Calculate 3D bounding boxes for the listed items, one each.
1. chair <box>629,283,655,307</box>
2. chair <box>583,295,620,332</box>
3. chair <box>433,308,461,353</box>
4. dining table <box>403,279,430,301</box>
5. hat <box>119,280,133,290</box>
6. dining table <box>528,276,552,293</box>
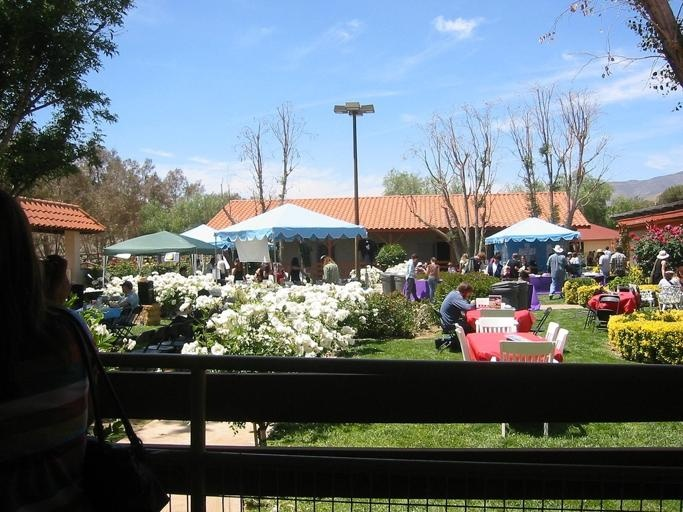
[{"bbox_3d":[7.946,1.037,15.043,0.628,0.821,0.700,-3,-8,27],"label":"chair"},{"bbox_3d":[6.164,1.317,13.184,0.790,1.050,0.744,2,5,16],"label":"chair"},{"bbox_3d":[2.077,1.491,11.209,0.582,0.832,0.613,-2,1,5],"label":"chair"},{"bbox_3d":[2.668,1.135,19.352,0.738,0.602,0.770,0,-5,3],"label":"dining table"},{"bbox_3d":[-4.846,0.643,12.713,0.246,0.320,0.315,0,6,-14],"label":"hat"},{"bbox_3d":[7.612,1.013,21.687,0.911,0.616,0.952,-1,0,3],"label":"dining table"}]
